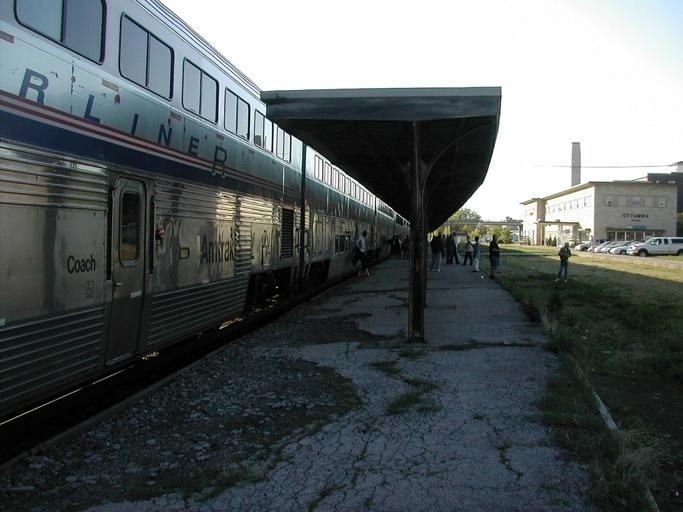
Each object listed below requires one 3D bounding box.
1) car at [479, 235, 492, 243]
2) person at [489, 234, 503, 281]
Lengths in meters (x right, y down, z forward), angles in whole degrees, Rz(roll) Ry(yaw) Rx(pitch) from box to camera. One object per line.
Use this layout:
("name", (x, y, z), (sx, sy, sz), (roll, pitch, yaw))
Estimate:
("car", (29.933, -3.489, 92.360), (2.334, 1.004, 1.676), (0, 8, 45))
("person", (6.117, 0.043, 17.766), (0.306, 1.635, 1.378), (0, 3, 17))
